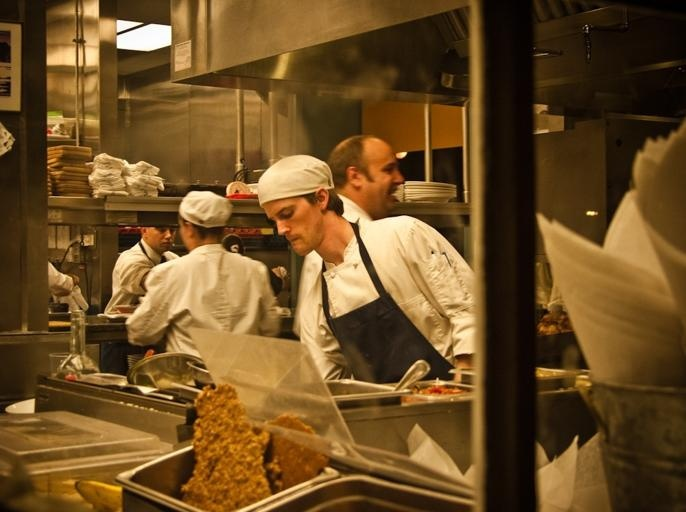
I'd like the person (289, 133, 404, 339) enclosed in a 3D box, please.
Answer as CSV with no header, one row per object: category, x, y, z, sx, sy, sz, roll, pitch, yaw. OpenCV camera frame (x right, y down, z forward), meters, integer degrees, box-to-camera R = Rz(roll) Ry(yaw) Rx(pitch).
person,0.071,-0.060,2.543,0.355,0.748,0.368,0,17,10

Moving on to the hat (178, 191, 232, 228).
hat,-0.629,-0.210,3.250,0.161,0.108,0.198,-4,16,-24

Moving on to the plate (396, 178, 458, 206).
plate,0.368,-0.266,2.996,0.169,0.071,0.173,0,0,-14

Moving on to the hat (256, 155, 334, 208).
hat,-0.172,-0.278,2.638,0.284,0.201,0.334,-8,-6,-15

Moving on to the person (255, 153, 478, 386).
person,0.110,0.036,2.423,0.849,0.801,0.346,1,4,42
